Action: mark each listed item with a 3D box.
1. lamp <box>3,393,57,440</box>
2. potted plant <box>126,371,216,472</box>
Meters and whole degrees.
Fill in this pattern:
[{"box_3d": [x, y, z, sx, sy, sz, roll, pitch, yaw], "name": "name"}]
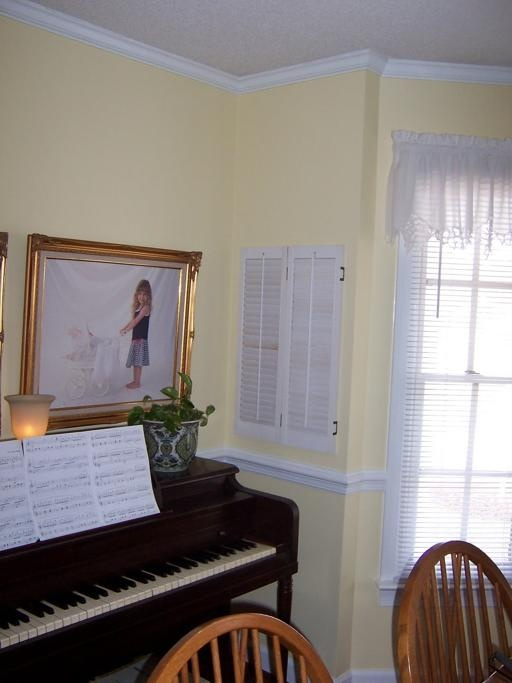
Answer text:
[{"box_3d": [-0.674, 0.218, 1.691, 0.139, 0.161, 0.127, 3, 6, -1], "name": "lamp"}, {"box_3d": [-0.312, 0.309, 2.136, 0.318, 0.328, 0.315, 3, -8, -27], "name": "potted plant"}]
